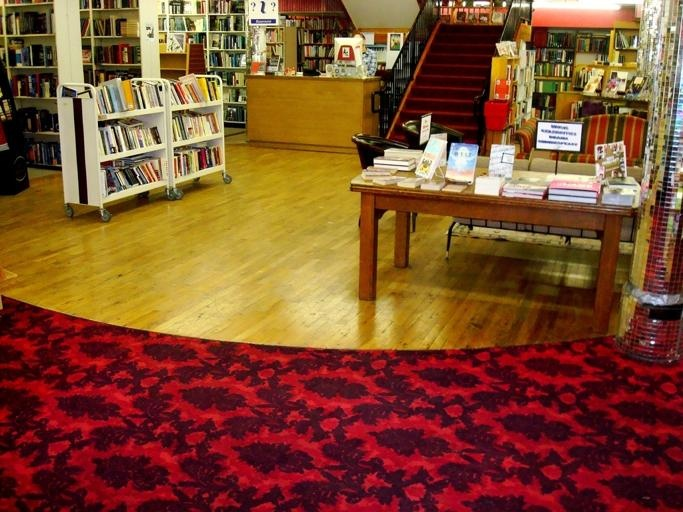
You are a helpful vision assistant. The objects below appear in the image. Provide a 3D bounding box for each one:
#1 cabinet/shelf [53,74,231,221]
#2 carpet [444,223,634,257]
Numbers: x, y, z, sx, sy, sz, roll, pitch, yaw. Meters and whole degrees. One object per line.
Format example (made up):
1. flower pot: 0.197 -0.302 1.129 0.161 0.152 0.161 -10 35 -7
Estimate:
1. cabinet/shelf: -2.697 -1.653 7.415 0.837 1.474 2.752 11 22 14
2. carpet: 2.076 -0.320 6.125 1.597 0.245 0.631 4 25 33
